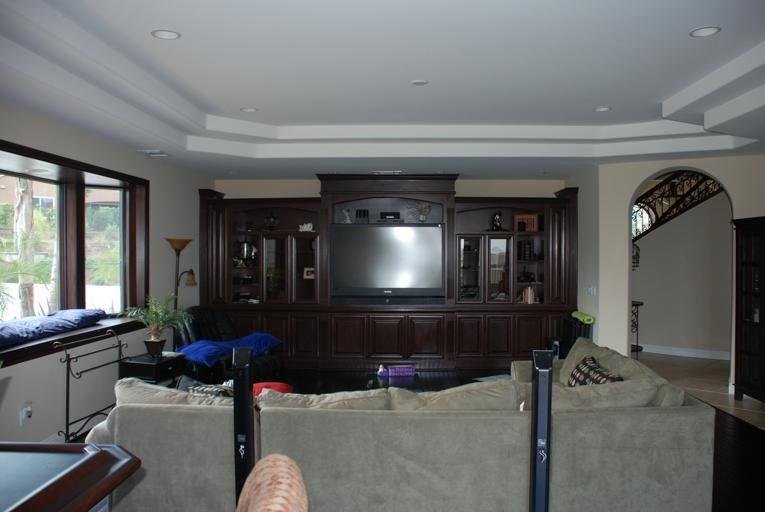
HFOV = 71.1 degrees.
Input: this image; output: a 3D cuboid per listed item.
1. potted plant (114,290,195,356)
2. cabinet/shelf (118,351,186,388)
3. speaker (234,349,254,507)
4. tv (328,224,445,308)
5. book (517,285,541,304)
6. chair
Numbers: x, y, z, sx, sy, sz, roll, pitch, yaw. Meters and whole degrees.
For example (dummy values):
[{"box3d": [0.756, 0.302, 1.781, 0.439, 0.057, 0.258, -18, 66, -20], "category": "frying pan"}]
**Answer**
[{"box3d": [-2.438, 0.774, 5.830, 0.746, 0.602, 0.677, 9, -7, 17], "category": "potted plant"}, {"box3d": [-2.483, 1.303, 5.784, 0.420, 0.372, 0.626, 1, -1, 7], "category": "cabinet/shelf"}, {"box3d": [-0.940, 1.145, 3.620, 0.125, 1.074, 0.295, -1, -2, -15], "category": "speaker"}, {"box3d": [0.067, 0.135, 7.853, 1.570, 0.826, 0.114, 0, -2, 1], "category": "tv"}, {"box3d": [2.253, 0.575, 8.039, 0.431, 0.258, 0.392, 5, -2, -34], "category": "book"}, {"box3d": [-1.950, 1.214, 6.726, 1.058, 0.915, 1.023, 10, 9, 25], "category": "chair"}]
